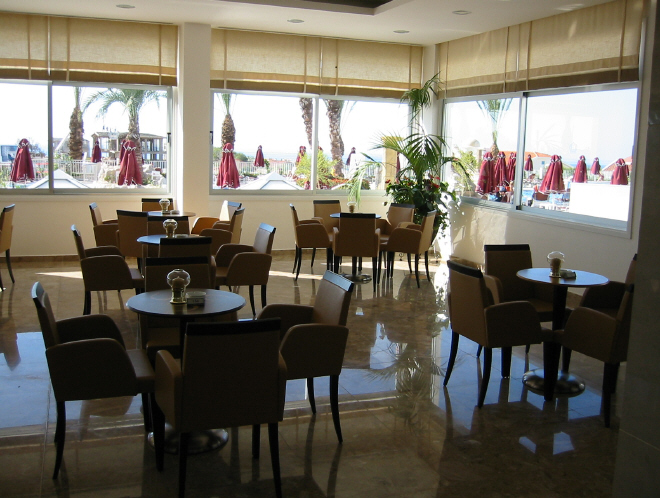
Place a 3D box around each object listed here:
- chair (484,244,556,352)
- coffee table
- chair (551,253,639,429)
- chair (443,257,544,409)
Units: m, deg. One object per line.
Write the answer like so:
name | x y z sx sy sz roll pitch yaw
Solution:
chair | 1.841 0.481 4.920 0.776 0.946 0.762 -3 3 -27
coffee table | 1.955 0.744 4.725 0.848 1.231 0.968 0 11 4
chair | 2.243 0.718 4.330 0.470 1.010 1.190 5 11 28
chair | 1.401 0.689 4.390 0.633 1.116 0.667 -3 8 -7
